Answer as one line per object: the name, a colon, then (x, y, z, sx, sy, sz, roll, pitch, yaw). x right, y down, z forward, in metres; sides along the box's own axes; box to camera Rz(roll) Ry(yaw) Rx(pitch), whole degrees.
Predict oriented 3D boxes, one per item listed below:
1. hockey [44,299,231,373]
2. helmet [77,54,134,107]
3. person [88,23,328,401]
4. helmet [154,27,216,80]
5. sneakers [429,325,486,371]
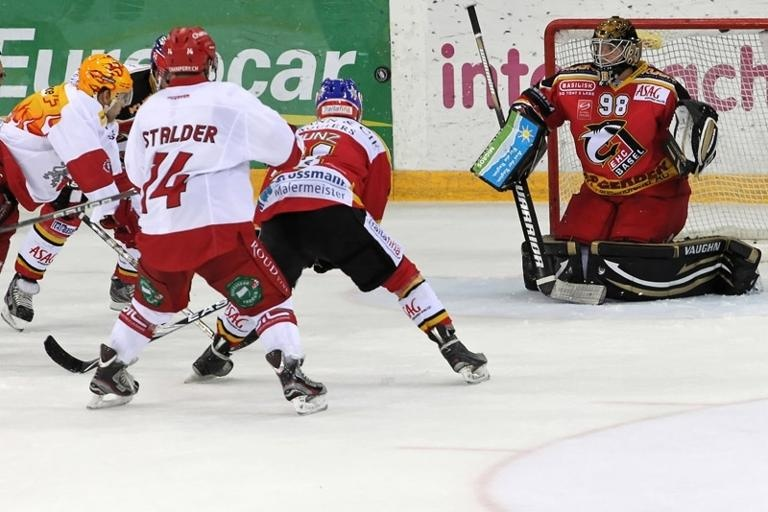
hockey: (-1.138, 0.374, 4.087, 0.524, 0.055, 0.469, -18, 2, -14)
helmet: (-1.404, -0.887, 4.729, 0.291, 0.232, 0.218, -5, 49, -28)
person: (-0.714, -0.130, 3.547, 0.921, 1.451, 0.501, -2, 15, -3)
helmet: (-0.760, -0.771, 3.645, 0.197, 0.204, 0.233, -1, -17, -3)
sneakers: (0.295, 0.380, 3.853, 0.256, 0.182, 0.097, 10, 19, 38)
